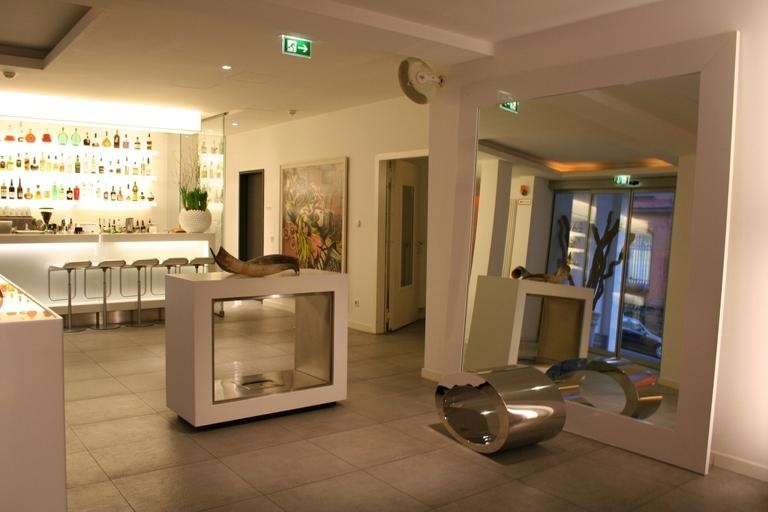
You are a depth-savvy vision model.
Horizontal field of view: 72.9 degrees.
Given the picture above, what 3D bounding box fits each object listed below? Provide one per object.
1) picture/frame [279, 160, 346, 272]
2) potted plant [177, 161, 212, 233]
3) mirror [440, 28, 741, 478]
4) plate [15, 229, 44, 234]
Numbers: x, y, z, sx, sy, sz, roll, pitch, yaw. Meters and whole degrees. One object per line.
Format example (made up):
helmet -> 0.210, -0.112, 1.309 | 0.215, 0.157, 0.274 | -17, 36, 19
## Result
picture/frame -> -1.305, -0.789, 9.923 | 2.123, 2.353, 0.121 | 8, 6, 41
potted plant -> -3.738, -1.104, 10.280 | 0.596, 1.295, 0.515 | -1, 7, -15
mirror -> 2.236, -0.089, 5.122 | 1.975, 3.852, 0.403 | 7, 9, 38
plate -> -6.376, -0.434, 9.332 | 0.441, 0.034, 1.257 | -3, 8, -34
